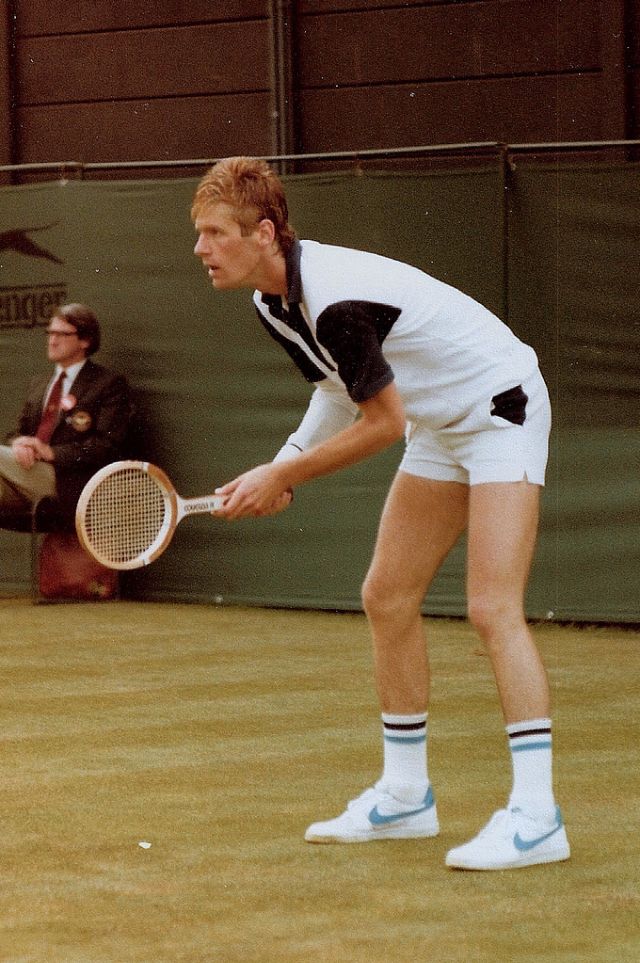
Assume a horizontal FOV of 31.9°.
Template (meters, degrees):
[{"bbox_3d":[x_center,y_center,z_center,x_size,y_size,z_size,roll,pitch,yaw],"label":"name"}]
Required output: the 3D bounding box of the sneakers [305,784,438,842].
[{"bbox_3d":[0.118,0.680,2.317,0.318,0.110,0.097,1,-5,-8],"label":"sneakers"}]

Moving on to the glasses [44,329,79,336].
[{"bbox_3d":[-1.278,-0.726,5.511,0.135,0.038,0.049,0,1,15],"label":"glasses"}]

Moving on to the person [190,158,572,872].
[{"bbox_3d":[0.132,0.062,2.189,0.691,1.328,0.553,0,1,12],"label":"person"}]

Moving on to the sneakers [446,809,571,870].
[{"bbox_3d":[0.348,0.660,2.092,0.270,0.097,0.088,-2,-10,-10],"label":"sneakers"}]
